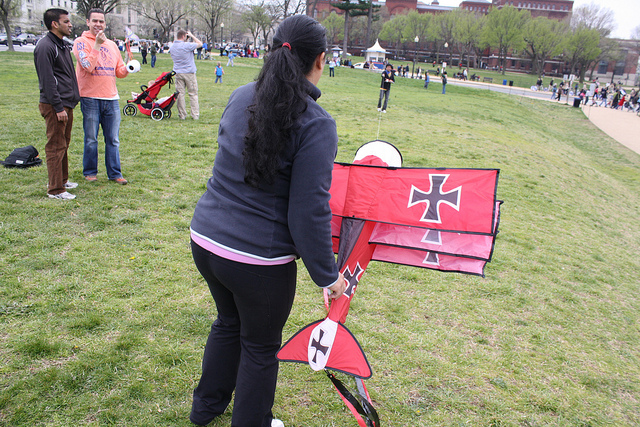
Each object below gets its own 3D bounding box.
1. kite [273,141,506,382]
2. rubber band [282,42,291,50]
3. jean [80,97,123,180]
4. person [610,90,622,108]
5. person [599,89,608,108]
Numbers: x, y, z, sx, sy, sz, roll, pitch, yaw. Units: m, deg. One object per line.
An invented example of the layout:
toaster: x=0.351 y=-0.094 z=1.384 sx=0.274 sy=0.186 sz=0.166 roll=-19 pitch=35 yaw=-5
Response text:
kite: x=0.480 y=0.546 z=5.189 sx=2.765 sy=1.266 sz=2.746 roll=3 pitch=48 yaw=12
rubber band: x=-0.278 y=-1.456 z=4.276 sx=0.067 sy=0.048 sz=0.026 roll=4 pitch=17 yaw=-11
jean: x=-3.634 y=-1.252 z=8.264 sx=0.632 sy=1.351 sz=0.367 roll=0 pitch=18 yaw=-22
person: x=26.389 y=-10.117 z=43.553 sx=0.496 sy=1.368 sz=1.358 roll=7 pitch=2 yaw=-30
person: x=26.630 y=-10.822 z=46.071 sx=0.711 sy=1.484 sz=4.012 roll=15 pitch=19 yaw=25
